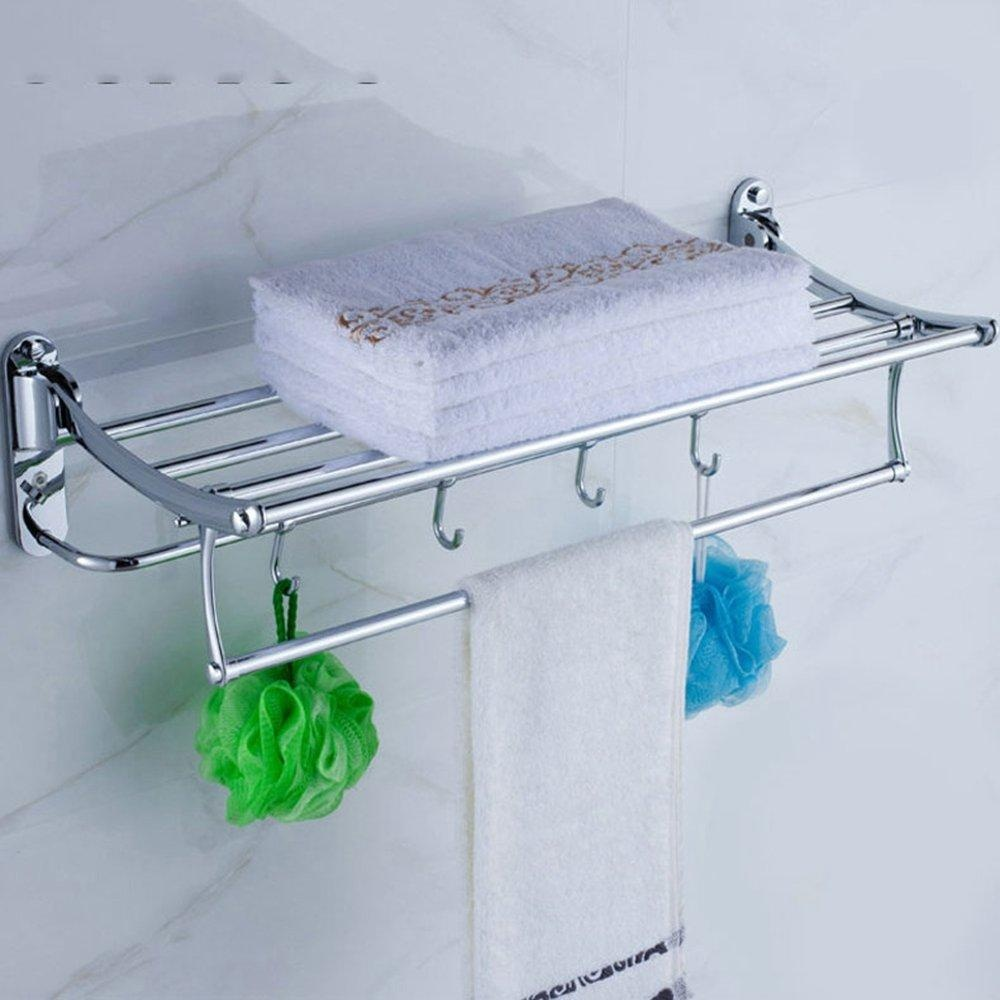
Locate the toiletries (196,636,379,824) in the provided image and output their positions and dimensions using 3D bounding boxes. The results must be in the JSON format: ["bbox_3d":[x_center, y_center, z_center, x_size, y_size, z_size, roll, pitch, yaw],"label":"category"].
[{"bbox_3d":[-0.127,0.147,0.682,0.099,0.063,0.107,6,43,-5],"label":"toiletries"}]
